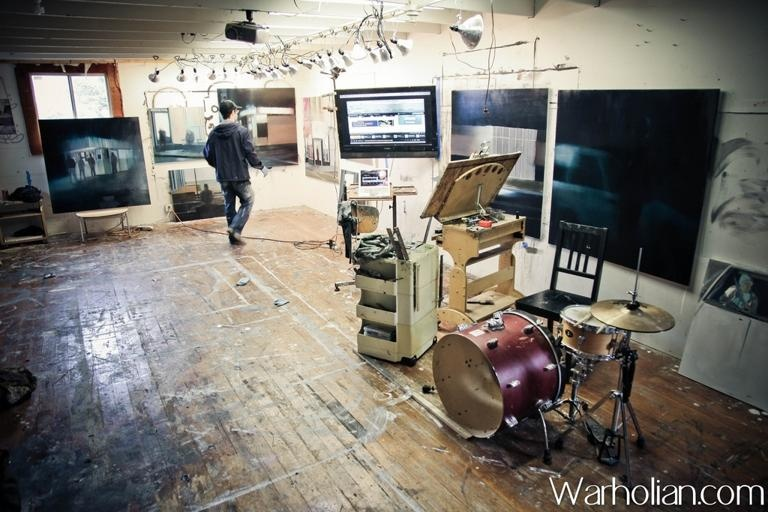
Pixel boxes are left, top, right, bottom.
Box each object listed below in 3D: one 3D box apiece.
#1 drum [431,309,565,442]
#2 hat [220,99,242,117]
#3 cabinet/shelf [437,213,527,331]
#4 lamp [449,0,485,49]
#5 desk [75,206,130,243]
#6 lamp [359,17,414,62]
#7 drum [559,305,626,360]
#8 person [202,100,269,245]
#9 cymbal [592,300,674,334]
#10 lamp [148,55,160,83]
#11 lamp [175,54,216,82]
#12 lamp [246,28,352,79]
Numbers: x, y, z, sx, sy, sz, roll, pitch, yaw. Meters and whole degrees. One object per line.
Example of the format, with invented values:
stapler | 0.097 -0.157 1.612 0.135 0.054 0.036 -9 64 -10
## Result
drum | 1.052 1.079 4.329 0.814 1.047 0.856 -1 17 0
hat | -2.946 -2.757 8.773 0.280 0.317 0.252 -7 18 -17
cabinet/shelf | 1.206 0.190 5.644 1.137 1.052 0.852 -19 30 -33
lamp | 0.922 -2.555 5.275 0.279 0.374 0.382 4 6 -29
desk | -5.844 -0.697 9.707 0.982 0.528 0.841 -11 19 -30
lamp | -0.034 -3.057 6.616 0.870 0.656 0.348 -4 15 -2
drum | 1.849 0.703 4.179 0.463 0.268 0.452 5 11 -1
person | -2.841 -1.624 8.983 0.847 2.623 0.976 -13 21 -32
cymbal | 2.026 0.482 3.786 0.398 0.091 0.388 -9 23 -23
lamp | -4.685 -3.785 9.462 0.282 0.476 0.807 -9 18 -23
lamp | -3.870 -3.902 9.686 0.983 0.411 0.941 -11 36 -31
lamp | -1.808 -4.123 9.072 2.320 0.684 1.425 -4 13 -5
